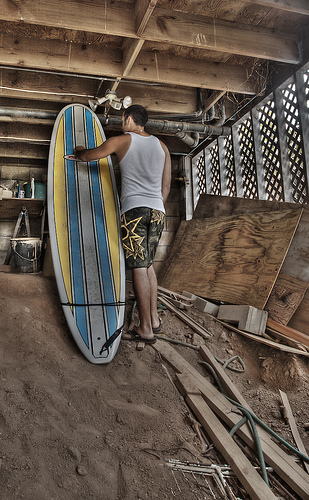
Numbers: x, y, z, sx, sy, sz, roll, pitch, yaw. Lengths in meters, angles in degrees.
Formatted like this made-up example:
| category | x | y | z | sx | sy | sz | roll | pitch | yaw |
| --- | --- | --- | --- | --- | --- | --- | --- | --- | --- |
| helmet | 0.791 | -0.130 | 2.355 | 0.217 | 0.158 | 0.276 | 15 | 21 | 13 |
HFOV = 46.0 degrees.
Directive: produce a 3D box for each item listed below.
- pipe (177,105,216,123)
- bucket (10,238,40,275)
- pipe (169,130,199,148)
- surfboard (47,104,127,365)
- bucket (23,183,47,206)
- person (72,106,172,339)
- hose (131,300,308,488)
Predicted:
| category | x | y | z | sx | sy | sz | roll | pitch | yaw |
| --- | --- | --- | --- | --- | --- | --- | --- | --- | --- |
| pipe | 0.493 | -1.589 | 4.276 | 0.416 | 0.193 | 0.193 | 7 | 14 | 4 |
| bucket | -1.064 | 0.026 | 3.007 | 0.257 | 0.294 | 0.264 | 3 | 8 | 0 |
| pipe | 0.388 | -1.400 | 4.560 | 0.248 | 0.164 | 0.505 | 13 | 17 | 27 |
| surfboard | -0.502 | -0.313 | 2.537 | 0.443 | 1.991 | 0.215 | -2 | -28 | -18 |
| bucket | -1.596 | -0.743 | 4.834 | 0.254 | 0.202 | 0.263 | 0 | 1 | 0 |
| person | -0.167 | -0.199 | 2.278 | 0.557 | 1.362 | 0.732 | 5 | 14 | -1 |
| hose | 0.356 | 0.667 | 1.826 | 0.247 | 0.047 | 0.848 | 15 | 14 | -25 |
